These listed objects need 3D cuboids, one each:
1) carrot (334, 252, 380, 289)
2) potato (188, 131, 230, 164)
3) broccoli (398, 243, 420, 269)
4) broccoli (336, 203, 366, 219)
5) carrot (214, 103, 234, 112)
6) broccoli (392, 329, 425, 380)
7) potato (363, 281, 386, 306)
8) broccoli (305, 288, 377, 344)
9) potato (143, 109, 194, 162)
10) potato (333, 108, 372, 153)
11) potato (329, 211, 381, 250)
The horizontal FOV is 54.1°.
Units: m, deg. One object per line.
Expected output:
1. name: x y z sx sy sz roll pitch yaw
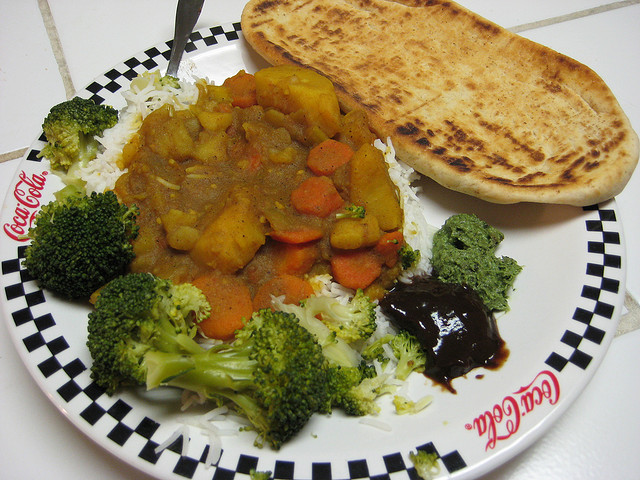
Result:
1. carrot: 0.240 0.200 4.154 0.298 0.144 0.183 -2 58 -9
2. potato: -0.731 -0.604 4.335 0.317 0.060 0.210 -35 69 -26
3. broccoli: 0.592 0.116 4.246 0.140 0.106 0.157 36 44 0
4. broccoli: 0.184 -0.196 4.061 0.134 0.100 0.080 -10 100 11
5. carrot: -0.686 -0.947 4.476 0.081 0.024 0.082 4 55 -10
6. broccoli: 0.554 0.731 3.988 0.192 0.073 0.275 5 67 8
7. potato: 0.366 0.363 4.223 0.142 0.046 0.145 -10 91 -17
8. broccoli: 0.138 0.477 3.994 0.355 0.143 0.303 22 70 -3
9. potato: -1.049 -0.711 4.305 0.281 0.099 0.373 -12 66 -19
10. potato: 0.215 -0.753 4.365 0.320 0.096 0.340 6 80 -1
11. potato: 0.214 -0.065 4.073 0.301 0.136 0.211 -5 59 -11
